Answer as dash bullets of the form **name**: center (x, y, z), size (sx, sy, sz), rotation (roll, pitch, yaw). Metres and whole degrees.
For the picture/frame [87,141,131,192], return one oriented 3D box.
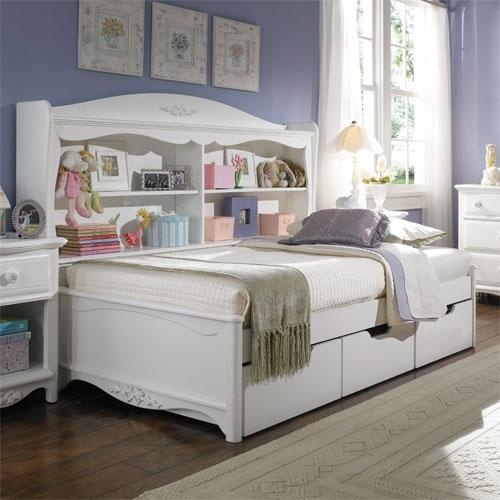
- **picture/frame**: center (-0.745, -0.432, 2.338), size (0.025, 0.282, 0.309), rotation (-6, -2, 37)

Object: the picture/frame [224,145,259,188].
- **picture/frame**: center (-0.070, -0.558, 3.024), size (0.023, 0.334, 0.353), rotation (-4, -2, 38)

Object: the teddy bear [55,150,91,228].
- **teddy bear**: center (-0.845, -0.295, 2.170), size (0.152, 0.353, 0.176), rotation (15, 18, 30)

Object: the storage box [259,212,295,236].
- **storage box**: center (0.190, -0.201, 3.226), size (0.183, 0.127, 0.187), rotation (7, 9, 43)

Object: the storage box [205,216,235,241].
- **storage box**: center (-0.186, -0.142, 2.828), size (0.159, 0.119, 0.155), rotation (-6, 9, -41)

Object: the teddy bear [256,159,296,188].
- **teddy bear**: center (0.170, -0.530, 3.174), size (0.251, 0.189, 0.099), rotation (-2, 8, -22)

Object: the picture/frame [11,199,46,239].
- **picture/frame**: center (-0.895, -0.121, 1.827), size (0.015, 0.200, 0.167), rotation (-1, 2, 32)

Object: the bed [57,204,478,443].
- **bed**: center (0.232, 0.259, 2.001), size (1.308, 0.388, 0.869), rotation (-2, 3, -44)
